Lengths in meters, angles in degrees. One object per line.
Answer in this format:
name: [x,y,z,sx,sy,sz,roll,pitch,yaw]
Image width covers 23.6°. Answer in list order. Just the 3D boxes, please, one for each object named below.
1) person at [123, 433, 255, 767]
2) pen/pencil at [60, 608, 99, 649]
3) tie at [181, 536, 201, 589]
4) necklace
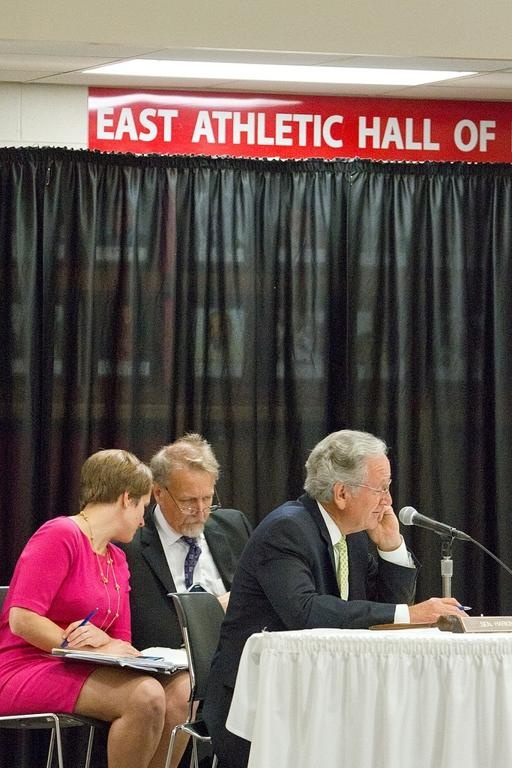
person: [-0.250,0.583,4.317,0.481,0.860,0.377,-8,17,-28]
pen/pencil: [-0.530,0.730,3.618,0.016,0.021,0.160,12,38,40]
tie: [-0.227,0.630,4.261,0.047,0.184,0.041,3,-10,-14]
necklace: [-0.489,0.609,3.864,0.026,0.406,0.097,-26,-27,33]
